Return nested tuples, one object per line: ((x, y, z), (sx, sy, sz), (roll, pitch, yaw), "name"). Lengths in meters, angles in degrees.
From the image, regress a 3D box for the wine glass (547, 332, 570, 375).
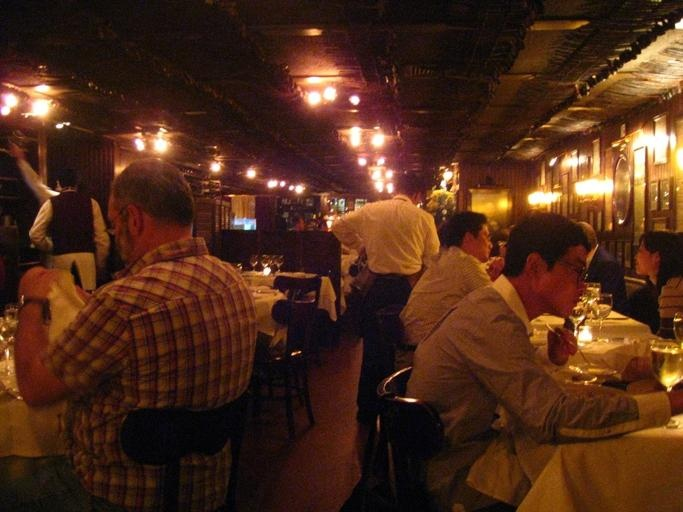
((1.168, 0.512, 2.986), (0.131, 0.188, 0.061), (-4, 12, -35), "wine glass")

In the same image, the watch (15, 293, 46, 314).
((-1.349, 0.193, 2.432), (0.115, 0.089, 0.117), (1, 2, -9), "watch")

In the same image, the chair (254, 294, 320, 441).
((-0.629, 0.948, 4.866), (0.664, 0.963, 0.657), (-6, -1, -19), "chair")

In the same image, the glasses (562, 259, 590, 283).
((1.122, 0.071, 2.711), (0.157, 0.046, 0.153), (20, 14, -46), "glasses")
